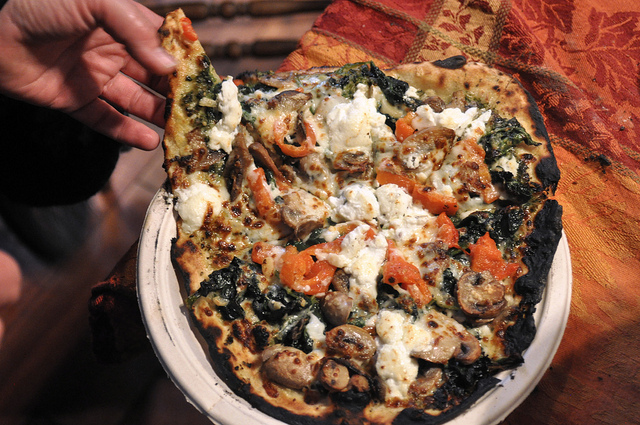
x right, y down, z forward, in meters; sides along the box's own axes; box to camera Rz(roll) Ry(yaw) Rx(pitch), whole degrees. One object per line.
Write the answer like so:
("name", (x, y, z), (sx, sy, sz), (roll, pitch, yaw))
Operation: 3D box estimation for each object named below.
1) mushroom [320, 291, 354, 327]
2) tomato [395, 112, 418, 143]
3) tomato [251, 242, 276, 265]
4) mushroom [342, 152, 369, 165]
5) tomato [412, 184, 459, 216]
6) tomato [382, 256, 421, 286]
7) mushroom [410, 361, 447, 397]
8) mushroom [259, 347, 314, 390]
("mushroom", (0.136, 0.754, 5.030), (0.265, 0.080, 0.254), (35, 84, 5))
("tomato", (0.713, -0.742, 5.322), (0.220, 0.067, 0.223), (-33, 60, 20))
("tomato", (-0.469, 0.323, 5.168), (0.151, 0.048, 0.174), (17, 83, 3))
("mushroom", (0.297, -0.462, 5.238), (0.202, 0.033, 0.097), (2, 82, 1))
("tomato", (0.938, -0.110, 5.182), (0.401, 0.089, 0.198), (31, 84, 4))
("tomato", (0.661, 0.423, 5.080), (0.326, 0.100, 0.301), (-9, 40, 31))
("mushroom", (0.866, 1.292, 4.900), (0.237, 0.072, 0.240), (0, 81, -1))
("mushroom", (-0.240, 1.216, 4.898), (0.365, 0.122, 0.266), (5, 101, 4))
